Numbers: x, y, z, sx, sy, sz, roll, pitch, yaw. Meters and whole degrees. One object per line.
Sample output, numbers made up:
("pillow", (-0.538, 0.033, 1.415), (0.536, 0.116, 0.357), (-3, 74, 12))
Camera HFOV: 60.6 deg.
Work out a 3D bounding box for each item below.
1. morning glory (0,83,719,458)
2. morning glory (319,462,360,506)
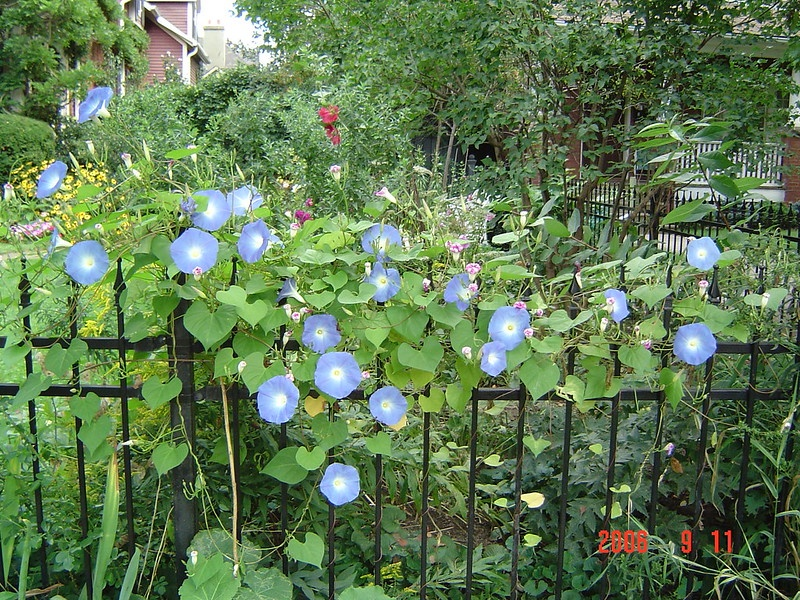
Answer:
("morning glory", (-0.154, 0.125, 3.048), (3.278, 0.867, 1.631), (4, 51, -1))
("morning glory", (-0.244, 0.742, 2.793), (0.187, 0.064, 0.189), (17, 25, -10))
